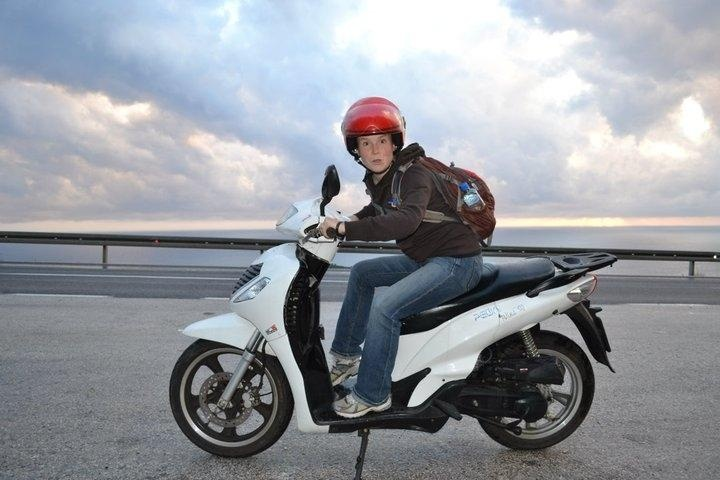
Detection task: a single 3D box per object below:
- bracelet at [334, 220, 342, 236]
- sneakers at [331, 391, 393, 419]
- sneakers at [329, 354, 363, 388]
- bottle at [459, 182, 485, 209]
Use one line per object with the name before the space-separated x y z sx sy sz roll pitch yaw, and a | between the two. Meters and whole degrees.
bracelet | -0.170 -0.089 3.984 0.059 0.114 0.044 8 7 30
sneakers | 0.024 1.392 4.089 0.464 0.240 0.206 3 2 -6
sneakers | -0.191 1.206 4.539 0.416 0.203 0.143 -25 -4 -4
bottle | 0.943 -0.379 4.104 0.157 0.263 0.074 -22 -2 3
